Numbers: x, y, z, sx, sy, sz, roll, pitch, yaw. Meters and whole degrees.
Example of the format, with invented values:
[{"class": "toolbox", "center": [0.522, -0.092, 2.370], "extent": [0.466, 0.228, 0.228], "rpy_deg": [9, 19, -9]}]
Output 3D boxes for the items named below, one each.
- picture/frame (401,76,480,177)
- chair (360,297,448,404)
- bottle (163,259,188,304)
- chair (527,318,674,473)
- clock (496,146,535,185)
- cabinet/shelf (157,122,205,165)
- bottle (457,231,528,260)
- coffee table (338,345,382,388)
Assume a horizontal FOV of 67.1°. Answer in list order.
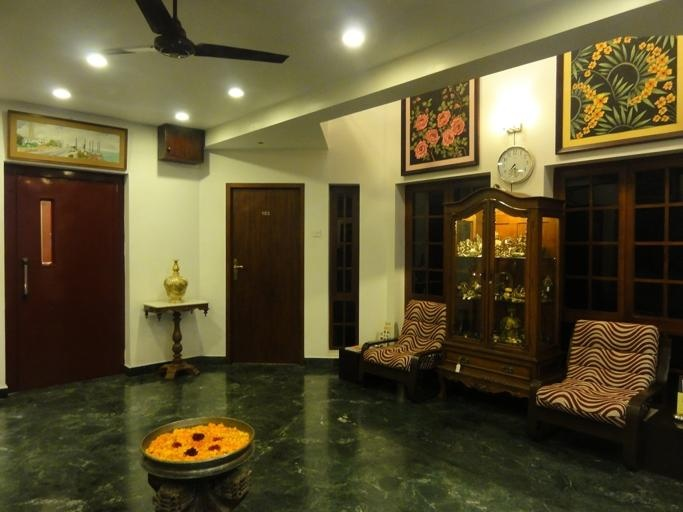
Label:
[{"class": "picture/frame", "center": [1.240, -1.573, 6.264], "extent": [0.037, 1.073, 1.036], "rpy_deg": [5, -6, -40]}, {"class": "chair", "center": [0.912, 1.094, 6.471], "extent": [0.873, 1.076, 1.104], "rpy_deg": [0, -2, 41]}, {"class": "bottle", "center": [-2.219, 0.321, 6.924], "extent": [0.443, 0.534, 0.459], "rpy_deg": [1, 3, 8]}, {"class": "chair", "center": [2.510, 1.222, 5.151], "extent": [1.094, 1.246, 1.279], "rpy_deg": [-2, -2, 43]}, {"class": "clock", "center": [1.978, -1.028, 5.819], "extent": [0.062, 0.508, 0.450], "rpy_deg": [2, 0, -39]}, {"class": "cabinet/shelf", "center": [-2.188, -1.534, 6.953], "extent": [0.494, 0.423, 0.163], "rpy_deg": [2, -3, -42]}, {"class": "bottle", "center": [1.637, -0.110, 5.695], "extent": [0.103, 0.256, 0.820], "rpy_deg": [-2, 1, -39]}, {"class": "coffee table", "center": [0.172, 1.363, 6.470], "extent": [0.342, 0.492, 0.441], "rpy_deg": [2, -3, -4]}]
